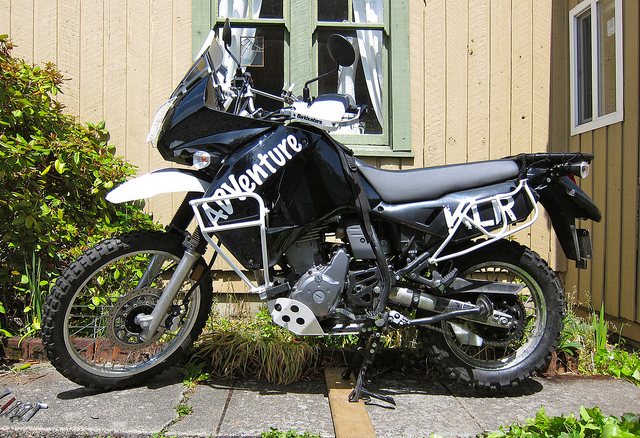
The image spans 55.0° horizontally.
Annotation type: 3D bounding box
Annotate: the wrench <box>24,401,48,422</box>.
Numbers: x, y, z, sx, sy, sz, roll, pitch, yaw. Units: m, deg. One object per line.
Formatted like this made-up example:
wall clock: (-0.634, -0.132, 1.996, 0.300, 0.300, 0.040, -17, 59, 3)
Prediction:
wrench: (-1.887, 1.276, 4.100, 0.059, 0.030, 0.131, -25, 8, 41)

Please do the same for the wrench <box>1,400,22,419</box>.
wrench: (-2.077, 1.277, 4.149, 0.144, 0.033, 0.021, -42, -7, -45)

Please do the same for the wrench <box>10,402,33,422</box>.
wrench: (-1.975, 1.277, 4.102, 0.033, 0.050, 0.165, -27, 6, 35)

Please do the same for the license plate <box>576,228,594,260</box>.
license plate: (1.915, 0.182, 4.480, 0.147, 0.220, 0.056, -1, -3, -22)
